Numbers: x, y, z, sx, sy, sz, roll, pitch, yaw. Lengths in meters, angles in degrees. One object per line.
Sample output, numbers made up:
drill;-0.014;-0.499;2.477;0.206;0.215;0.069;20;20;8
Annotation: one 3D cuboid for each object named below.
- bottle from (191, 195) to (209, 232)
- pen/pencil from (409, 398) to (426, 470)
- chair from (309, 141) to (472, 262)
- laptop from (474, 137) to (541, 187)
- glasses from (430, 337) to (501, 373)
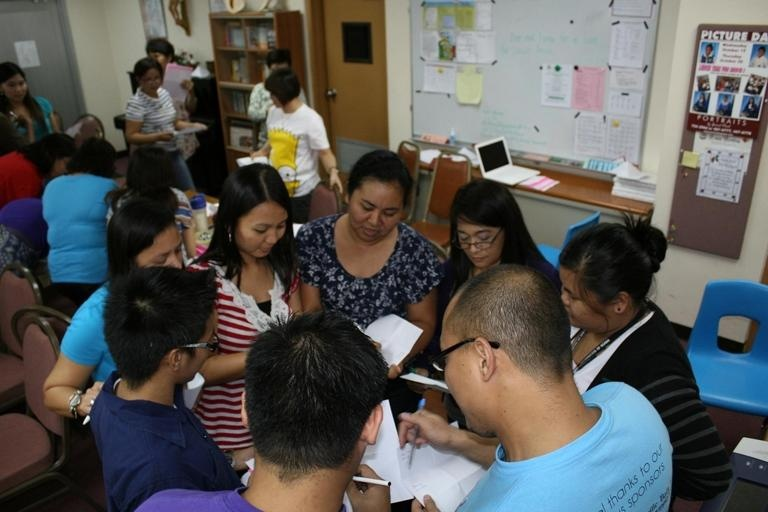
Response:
bottle;-1.379;-0.288;4.233;0.117;0.286;0.152;-13;-20;-11
pen/pencil;0.141;0.761;2.370;0.028;0.253;0.027;22;-16;-26
chair;0.186;-0.575;5.422;0.844;1.662;1.011;13;29;24
laptop;1.105;-0.835;4.962;0.526;0.373;0.516;-25;38;-27
glasses;0.265;0.328;1.971;0.045;0.165;0.153;36;-11;-13
